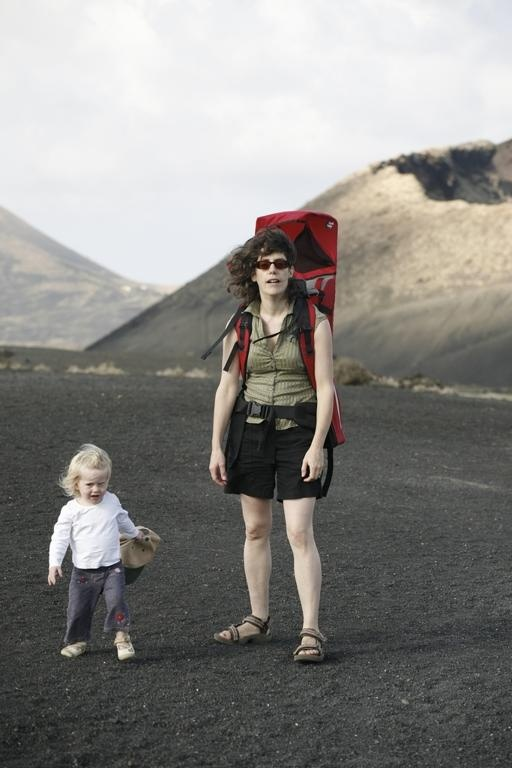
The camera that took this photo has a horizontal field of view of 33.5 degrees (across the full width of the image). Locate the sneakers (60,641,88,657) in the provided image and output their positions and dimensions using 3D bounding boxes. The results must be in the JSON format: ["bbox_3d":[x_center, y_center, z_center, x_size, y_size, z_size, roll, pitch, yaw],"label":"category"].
[{"bbox_3d":[-0.689,1.004,3.224,0.063,0.041,0.129,2,5,22],"label":"sneakers"}]

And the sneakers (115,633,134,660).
[{"bbox_3d":[-0.495,0.984,3.193,0.046,0.050,0.125,-11,32,-8],"label":"sneakers"}]

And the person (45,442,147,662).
[{"bbox_3d":[-0.618,0.637,3.293,0.348,0.784,0.360,-1,5,-8],"label":"person"}]

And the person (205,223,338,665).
[{"bbox_3d":[0.079,0.213,3.371,0.520,1.653,0.541,0,4,-1],"label":"person"}]

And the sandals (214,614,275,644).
[{"bbox_3d":[-0.047,0.972,3.422,0.197,0.082,0.099,0,-4,-28],"label":"sandals"}]

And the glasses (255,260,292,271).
[{"bbox_3d":[0.068,-0.461,3.314,0.130,0.044,0.056,0,4,4],"label":"glasses"}]
